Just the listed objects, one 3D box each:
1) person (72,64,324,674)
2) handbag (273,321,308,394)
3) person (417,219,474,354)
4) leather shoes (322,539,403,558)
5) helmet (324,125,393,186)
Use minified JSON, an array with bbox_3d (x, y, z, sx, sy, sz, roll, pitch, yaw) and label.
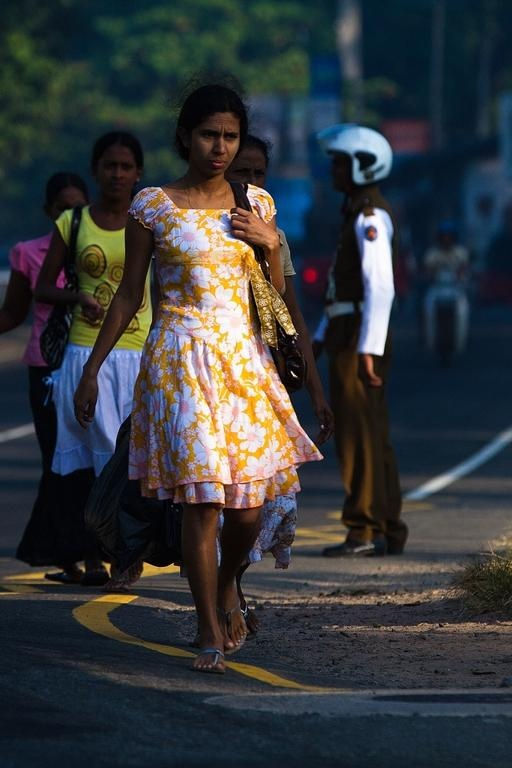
[{"bbox_3d":[-0.182,-0.037,3.513,0.603,1.874,0.655,4,7,32],"label":"person"},{"bbox_3d":[0.108,-0.087,3.566,0.111,0.228,0.082,-27,20,-37],"label":"handbag"},{"bbox_3d":[1.781,-0.839,10.189,0.467,1.267,0.185,0,6,-6],"label":"person"},{"bbox_3d":[0.594,0.892,6.040,0.468,0.144,0.140,2,-5,-11],"label":"leather shoes"},{"bbox_3d":[0.583,-1.261,6.114,0.450,0.273,0.320,4,-1,4],"label":"helmet"}]
